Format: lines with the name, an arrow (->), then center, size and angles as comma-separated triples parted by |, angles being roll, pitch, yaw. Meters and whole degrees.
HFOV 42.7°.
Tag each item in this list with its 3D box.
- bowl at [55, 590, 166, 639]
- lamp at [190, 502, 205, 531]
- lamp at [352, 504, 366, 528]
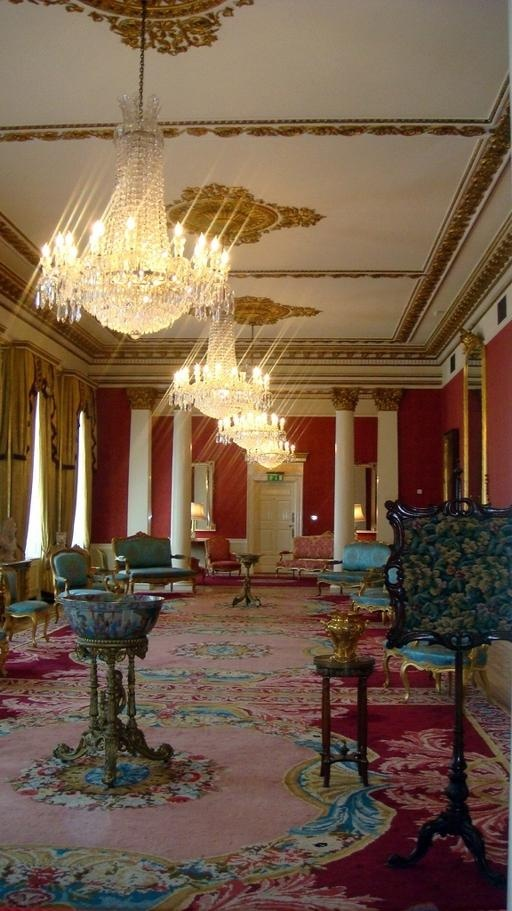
bowl -> -0.669, 0.808, 3.278 | 0.424, 0.191, 0.435 | 1, -8, 0
lamp -> -1.569, 1.647, 17.702 | 0.342, 0.720, 0.992 | 1, -7, -5
lamp -> 2.782, 1.607, 17.534 | 0.248, 0.677, 0.585 | -1, -8, 14
